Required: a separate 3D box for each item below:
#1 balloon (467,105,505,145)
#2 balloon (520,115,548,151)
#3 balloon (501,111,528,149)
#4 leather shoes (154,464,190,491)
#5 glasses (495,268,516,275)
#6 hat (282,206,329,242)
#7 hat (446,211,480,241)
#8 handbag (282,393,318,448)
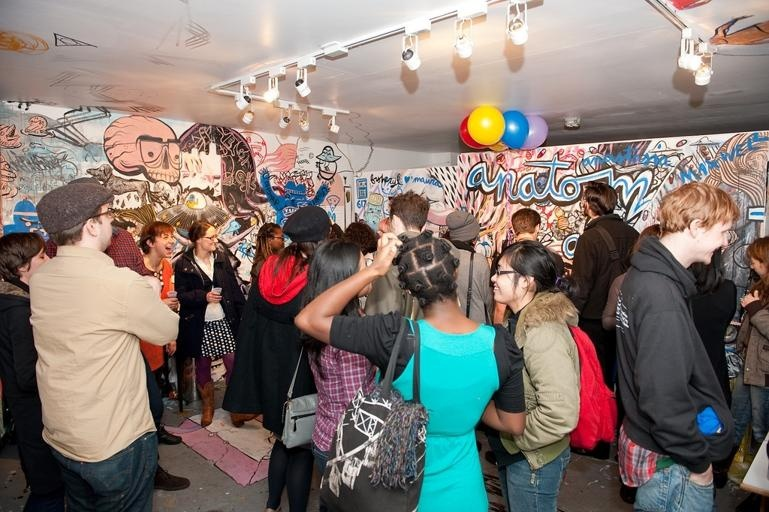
[{"bbox_3d":[1.223,-1.590,5.919,0.439,0.506,0.442,3,-4,0],"label":"balloon"},{"bbox_3d":[1.888,-1.629,6.465,0.397,0.483,0.399,5,15,10],"label":"balloon"},{"bbox_3d":[1.608,-1.595,6.193,0.327,0.436,0.337,-13,14,-6],"label":"balloon"},{"bbox_3d":[-1.841,1.931,4.266,0.284,0.172,0.214,1,10,-6],"label":"leather shoes"},{"bbox_3d":[0.752,0.109,3.075,0.034,0.044,0.136,-6,12,-37],"label":"glasses"},{"bbox_3d":[-0.558,-0.218,3.463,0.322,0.266,0.183,0,10,-12],"label":"hat"},{"bbox_3d":[0.704,-0.231,4.389,0.296,0.221,0.185,21,-16,44],"label":"hat"},{"bbox_3d":[-0.563,1.112,3.239,0.129,0.304,0.364,5,-6,30],"label":"handbag"}]
